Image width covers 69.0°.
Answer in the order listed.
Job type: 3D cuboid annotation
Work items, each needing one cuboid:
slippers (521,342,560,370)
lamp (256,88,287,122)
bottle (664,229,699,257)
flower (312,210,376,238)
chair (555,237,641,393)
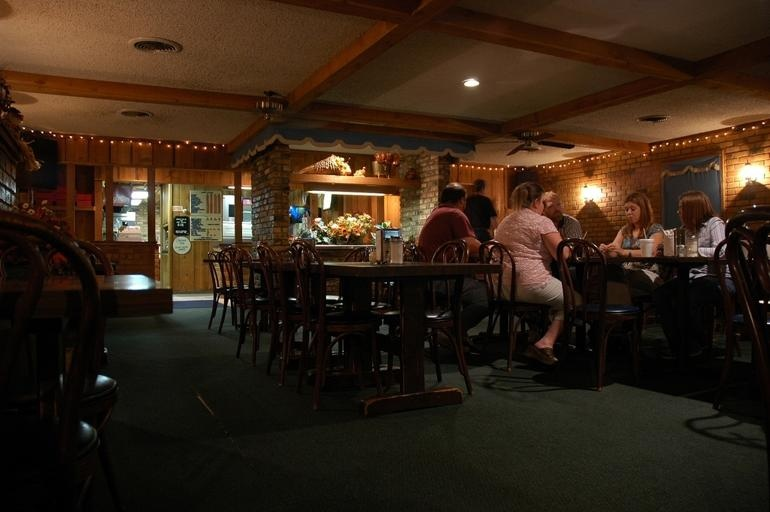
[{"bbox_3d":[1.234,0.821,4.605,0.176,0.141,0.418,-36,12,-23],"label":"slippers"},{"bbox_3d":[-1.443,-1.925,7.145,0.336,0.276,0.329,2,0,-4],"label":"lamp"},{"bbox_3d":[2.493,-0.098,4.733,0.251,0.245,0.255,-1,0,-4],"label":"bottle"},{"bbox_3d":[-0.643,-0.500,8.536,0.679,0.315,0.516,-5,-11,13],"label":"flower"},{"bbox_3d":[1.860,0.375,4.819,0.649,1.141,1.835,3,7,25],"label":"chair"}]
